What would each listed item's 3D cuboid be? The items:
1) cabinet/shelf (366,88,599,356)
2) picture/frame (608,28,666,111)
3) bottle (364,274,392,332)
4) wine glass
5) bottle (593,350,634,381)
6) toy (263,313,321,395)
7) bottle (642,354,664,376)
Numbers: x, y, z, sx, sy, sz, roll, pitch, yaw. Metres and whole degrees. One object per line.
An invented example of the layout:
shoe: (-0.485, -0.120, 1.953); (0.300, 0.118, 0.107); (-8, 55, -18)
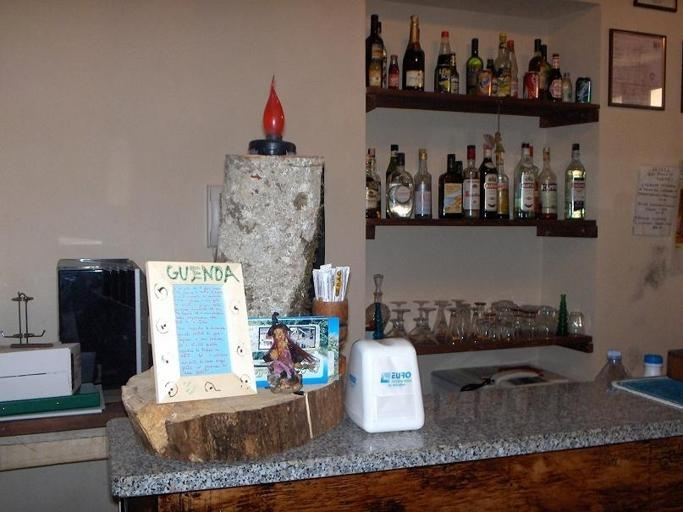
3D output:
cabinet/shelf: (0.693, -0.193, 2.974); (1.348, 1.311, 0.424); (1, 1, -9)
picture/frame: (1.504, -0.942, 3.010); (0.391, 0.404, 0.027); (-2, 4, -21)
bottle: (0.180, 0.226, 2.867); (0.120, 0.287, 0.328); (0, 6, 4)
wine glass: (0.470, 0.328, 2.898); (0.356, 0.114, 0.253); (-2, 4, -33)
bottle: (0.840, 0.338, 1.829); (0.079, 0.085, 0.146); (3, 7, 25)
toy: (-0.132, 0.215, 1.400); (0.127, 0.178, 0.105); (-3, 0, 7)
bottle: (0.942, 0.325, 1.782); (0.048, 0.062, 0.111); (3, 7, 26)
